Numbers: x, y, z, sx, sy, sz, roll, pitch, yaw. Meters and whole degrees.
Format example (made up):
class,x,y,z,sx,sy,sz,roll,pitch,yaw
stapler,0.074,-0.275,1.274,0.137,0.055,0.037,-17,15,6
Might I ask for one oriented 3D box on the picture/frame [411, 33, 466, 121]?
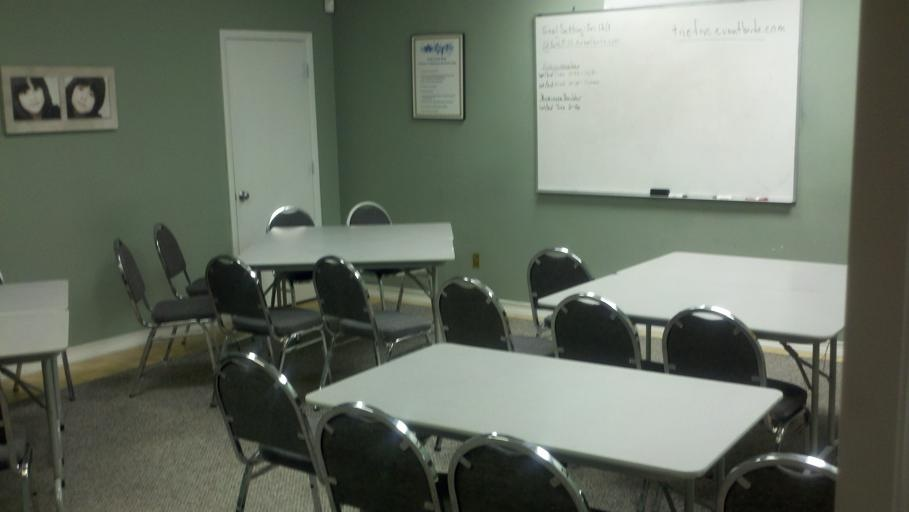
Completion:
class,x,y,z,sx,sy,sz,roll,pitch,yaw
picture/frame,-0.167,-1.901,7.288,0.618,0.884,0.132,5,15,29

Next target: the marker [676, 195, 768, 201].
class,x,y,z,sx,sy,sz,roll,pitch,yaw
marker,2.378,-0.516,6.140,0.808,0.056,0.033,5,14,29
